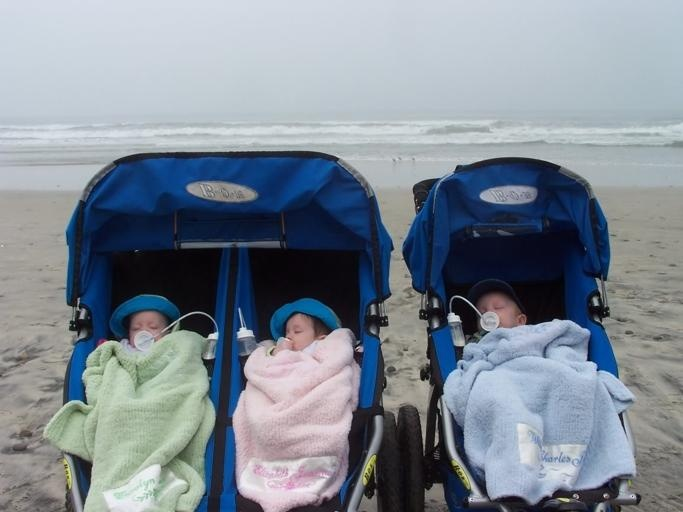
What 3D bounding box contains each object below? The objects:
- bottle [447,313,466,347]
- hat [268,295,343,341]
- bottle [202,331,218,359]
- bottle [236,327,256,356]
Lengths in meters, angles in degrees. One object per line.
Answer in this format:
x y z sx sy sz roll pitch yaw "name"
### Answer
0.740 0.478 4.553 0.107 0.228 0.198 -3 -6 9 "bottle"
-0.208 0.420 4.703 0.313 0.143 0.342 -30 -55 35 "hat"
-0.847 0.584 4.550 0.090 0.176 0.176 2 -8 -36 "bottle"
-0.602 0.552 4.488 0.098 0.173 0.171 -7 -20 1 "bottle"
